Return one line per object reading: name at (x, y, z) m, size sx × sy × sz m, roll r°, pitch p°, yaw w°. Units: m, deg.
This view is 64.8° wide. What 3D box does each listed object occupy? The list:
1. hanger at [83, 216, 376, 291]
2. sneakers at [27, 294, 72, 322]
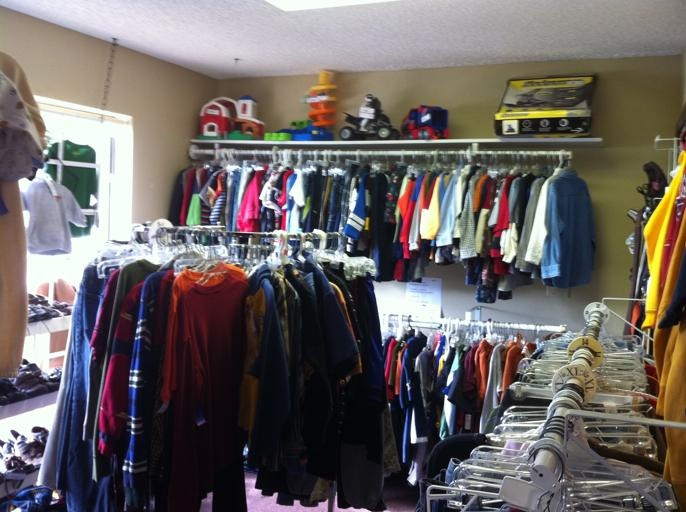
hanger at (-0.478, -0.015, 2.550) m, size 1.280 × 0.256 × 0.559 m, roll 1°, pitch 2°, yaw -25°
sneakers at (-1.854, 0.324, 3.413) m, size 0.236 × 0.120 × 0.426 m, roll 1°, pitch 2°, yaw -29°
